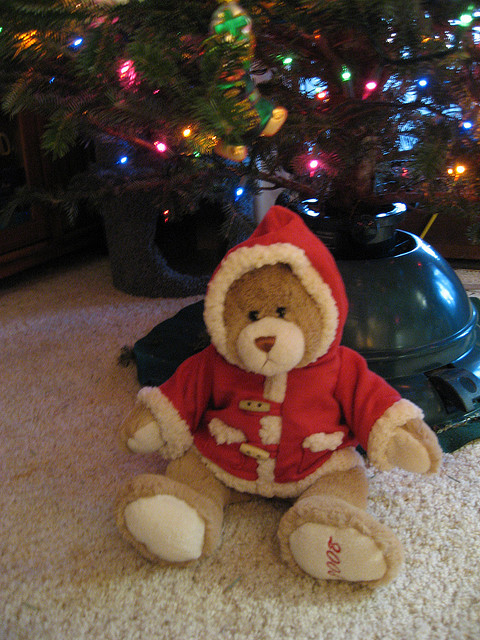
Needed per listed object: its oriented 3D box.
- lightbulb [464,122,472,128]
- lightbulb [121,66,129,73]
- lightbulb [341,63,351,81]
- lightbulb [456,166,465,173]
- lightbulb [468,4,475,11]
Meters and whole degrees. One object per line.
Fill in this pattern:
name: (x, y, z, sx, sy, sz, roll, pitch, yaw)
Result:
lightbulb: (0.230, -0.196, 0.520, 0.002, 0.005, 0.008, -19, 35, -31)
lightbulb: (-0.107, -0.233, 0.481, 0.007, 0.005, 0.004, -4, 30, -12)
lightbulb: (0.110, -0.255, 0.533, 0.010, 0.016, 0.008, -1, 45, 15)
lightbulb: (0.239, -0.163, 0.560, 0.006, 0.007, 0.006, 3, 57, -2)
lightbulb: (0.185, -0.250, 0.414, 0.004, 0.004, 0.009, 11, 29, 16)
